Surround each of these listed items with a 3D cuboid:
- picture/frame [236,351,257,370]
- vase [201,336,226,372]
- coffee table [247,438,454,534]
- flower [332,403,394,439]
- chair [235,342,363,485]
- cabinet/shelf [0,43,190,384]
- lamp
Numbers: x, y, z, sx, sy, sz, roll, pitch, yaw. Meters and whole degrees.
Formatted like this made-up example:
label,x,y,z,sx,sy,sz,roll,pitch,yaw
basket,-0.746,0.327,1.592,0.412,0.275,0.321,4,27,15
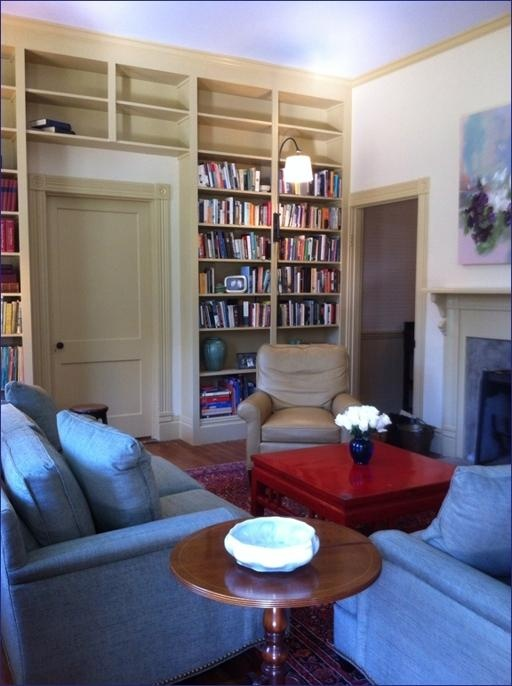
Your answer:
label,x,y,z,sx,sy,sz,roll,pitch,yaw
picture/frame,-0.090,0.170,4.890,0.224,0.212,0.121,2,-6,-21
vase,-0.370,0.098,4.662,0.219,0.301,0.171,3,-2,5
coffee table,0.539,0.630,2.387,0.624,0.318,0.597,2,4,-31
flower,0.519,0.354,2.556,0.207,0.153,0.210,3,1,3
chair,0.295,0.490,3.675,0.785,0.914,0.730,0,3,-2
cabinet/shelf,-1.210,-0.836,4.127,1.592,2.101,0.602,5,-3,-40
lamp,0.317,-1.448,4.635,0.316,1.083,0.890,3,-2,2
